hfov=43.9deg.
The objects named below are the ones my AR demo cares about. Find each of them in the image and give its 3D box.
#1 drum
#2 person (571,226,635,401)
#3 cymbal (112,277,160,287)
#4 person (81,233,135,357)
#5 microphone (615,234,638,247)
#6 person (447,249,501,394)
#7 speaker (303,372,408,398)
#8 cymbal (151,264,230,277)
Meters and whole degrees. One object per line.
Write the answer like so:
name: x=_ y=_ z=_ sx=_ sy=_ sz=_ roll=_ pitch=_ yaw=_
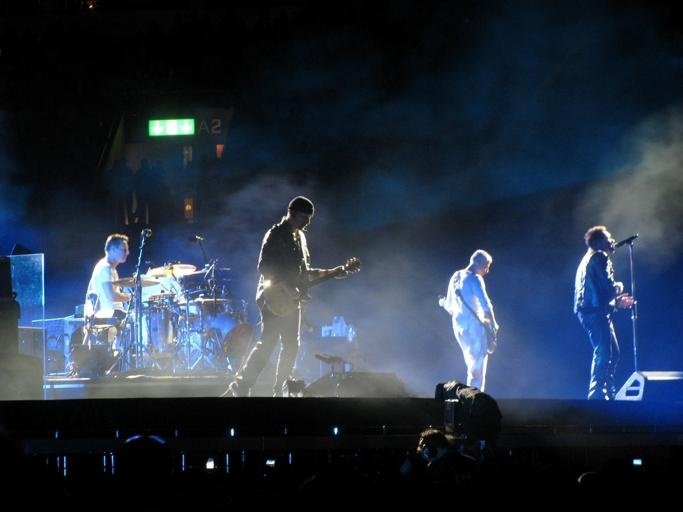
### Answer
drum: x=-2.677 y=1.280 z=13.513 sx=1.300 sy=0.948 sz=1.019 roll=-1 pitch=4 yaw=-36
person: x=3.617 y=0.747 z=11.792 sx=0.719 sy=2.414 sz=0.471 roll=0 pitch=-11 yaw=16
cymbal: x=-3.058 y=0.385 z=12.645 sx=0.259 sy=0.050 sz=0.283 roll=-1 pitch=-11 yaw=5
person: x=-3.518 y=0.547 z=12.736 sx=0.532 sy=2.084 sz=0.611 roll=-1 pitch=7 yaw=-18
microphone: x=4.236 y=-0.229 z=12.589 sx=0.504 sy=0.140 sz=0.116 roll=-12 pitch=-11 yaw=-42
person: x=1.907 y=0.941 z=12.419 sx=0.618 sy=2.047 sz=0.730 roll=2 pitch=5 yaw=-4
speaker: x=0.201 y=1.568 z=10.449 sx=1.272 sy=0.311 sz=0.354 roll=1 pitch=-11 yaw=9
cymbal: x=-2.535 y=0.229 z=13.315 sx=0.716 sy=0.211 sz=0.468 roll=3 pitch=-4 yaw=-40
